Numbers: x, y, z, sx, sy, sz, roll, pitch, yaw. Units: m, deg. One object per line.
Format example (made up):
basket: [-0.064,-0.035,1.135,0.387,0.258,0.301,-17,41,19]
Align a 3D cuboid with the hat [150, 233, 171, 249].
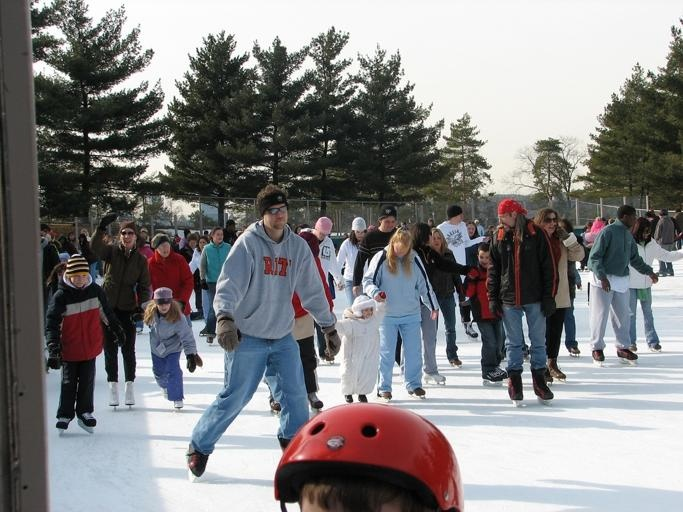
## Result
hat: [-2.426,-0.159,9.567,0.176,0.227,0.260,-5,13,-11]

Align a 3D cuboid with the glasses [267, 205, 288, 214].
glasses: [-0.476,-0.348,5.535,0.186,0.082,0.078,1,-4,-42]

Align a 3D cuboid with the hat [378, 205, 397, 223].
hat: [0.611,-0.527,9.283,0.161,0.213,0.244,1,-3,-8]

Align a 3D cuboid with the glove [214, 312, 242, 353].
glove: [-0.792,0.537,5.119,0.083,0.246,0.161,-30,32,-34]

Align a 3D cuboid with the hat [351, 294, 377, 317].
hat: [0.231,0.566,7.741,0.181,0.202,0.243,-8,-41,-13]

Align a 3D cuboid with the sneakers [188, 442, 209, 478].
sneakers: [-1.123,1.601,5.594,0.149,0.275,0.214,-1,-3,-15]

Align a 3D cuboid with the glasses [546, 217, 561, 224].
glasses: [2.641,-0.426,9.045,0.113,0.042,0.121,2,-9,-31]

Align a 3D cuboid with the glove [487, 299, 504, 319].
glove: [1.777,0.632,8.241,0.196,0.311,0.102,-8,-5,17]

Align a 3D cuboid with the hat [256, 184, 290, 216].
hat: [-0.547,-0.444,5.650,0.215,0.217,0.238,1,-12,-38]

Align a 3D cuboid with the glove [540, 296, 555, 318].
glove: [2.232,0.552,7.755,0.126,0.202,0.091,-4,-13,18]

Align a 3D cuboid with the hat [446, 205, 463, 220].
hat: [1.820,-0.695,11.593,0.169,0.204,0.240,-3,26,35]

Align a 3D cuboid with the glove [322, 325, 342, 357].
glove: [-0.046,0.670,5.577,0.075,0.229,0.205,1,-7,-22]

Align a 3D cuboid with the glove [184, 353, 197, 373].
glove: [-1.498,1.072,7.136,0.127,0.201,0.058,-6,-6,31]

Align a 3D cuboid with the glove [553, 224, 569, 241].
glove: [2.796,-0.288,9.125,0.149,0.168,0.140,-7,7,-4]

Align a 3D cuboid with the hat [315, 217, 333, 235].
hat: [-0.274,-0.451,11.069,0.196,0.170,0.289,14,6,-22]

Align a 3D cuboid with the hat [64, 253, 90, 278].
hat: [-2.659,0.093,7.250,0.199,0.234,0.275,2,-13,-37]

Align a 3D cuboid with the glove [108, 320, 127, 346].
glove: [-2.403,0.841,7.655,0.188,0.289,0.098,-1,24,39]
